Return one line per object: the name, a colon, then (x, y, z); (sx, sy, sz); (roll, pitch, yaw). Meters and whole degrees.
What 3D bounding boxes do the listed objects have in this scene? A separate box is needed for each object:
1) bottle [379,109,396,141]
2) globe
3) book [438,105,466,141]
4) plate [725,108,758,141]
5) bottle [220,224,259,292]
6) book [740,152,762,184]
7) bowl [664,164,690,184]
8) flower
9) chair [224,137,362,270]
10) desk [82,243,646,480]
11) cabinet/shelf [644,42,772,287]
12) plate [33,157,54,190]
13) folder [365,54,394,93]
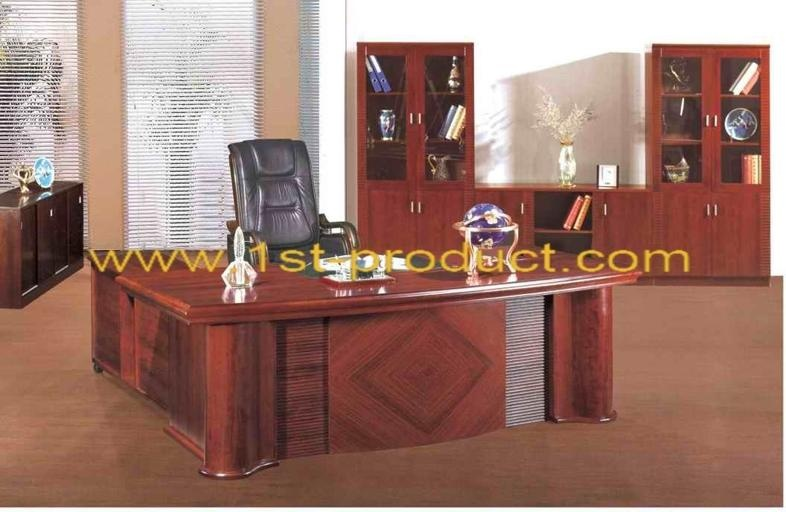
bottle: (-0.066, -1.442, 7.656); (0.181, 0.341, 0.032); (-3, 11, -3)
globe: (0.611, -0.125, 4.578); (0.425, 0.440, 0.414); (-11, 16, -41)
book: (0.646, -1.467, 7.681); (0.351, 0.332, 0.092); (8, 8, -21)
plate: (3.764, -1.431, 7.571); (0.327, 0.344, 0.084); (-2, 11, 0)
bottle: (-0.921, -0.004, 4.156); (0.211, 0.334, 0.340); (-4, 12, -11)
book: (3.877, -0.938, 7.567); (0.213, 0.328, 0.073); (-1, 11, 5)
bowl: (3.086, -0.912, 7.648); (0.250, 0.166, 0.180); (1, 4, -4)
flower: (1.900, -1.607, 8.043); (0.742, 0.479, 0.709); (6, 6, 19)
chair: (-0.979, -0.530, 6.237); (0.933, 1.202, 1.173); (-4, 5, -34)
desk: (-0.098, 0.615, 4.225); (2.002, 0.562, 1.684); (-5, 9, -25)
cabinet/shelf: (3.432, -1.017, 7.580); (1.268, 2.528, 0.330); (-2, 11, 3)
plate: (-3.757, -0.886, 7.431); (0.128, 0.313, 0.327); (5, 1, 40)
folder: (-0.158, -1.984, 7.570); (0.089, 0.343, 0.349); (-25, 13, -31)
